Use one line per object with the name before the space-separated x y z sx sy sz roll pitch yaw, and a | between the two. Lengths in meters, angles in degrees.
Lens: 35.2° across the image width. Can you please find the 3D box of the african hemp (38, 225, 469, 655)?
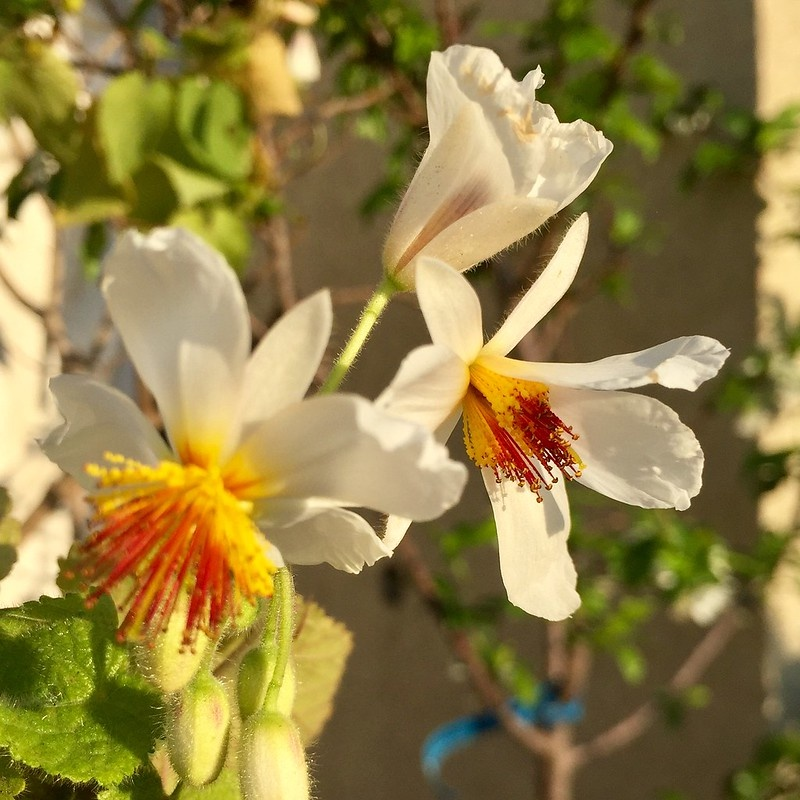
african hemp | -0.194 0.066 1.248 0.478 0.177 0.383 22 98 47

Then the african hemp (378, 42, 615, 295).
african hemp | 0.076 -0.225 1.338 0.216 0.207 0.244 33 86 -17

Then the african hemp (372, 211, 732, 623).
african hemp | 0.158 -0.009 1.400 0.409 0.428 0.158 -25 31 5
